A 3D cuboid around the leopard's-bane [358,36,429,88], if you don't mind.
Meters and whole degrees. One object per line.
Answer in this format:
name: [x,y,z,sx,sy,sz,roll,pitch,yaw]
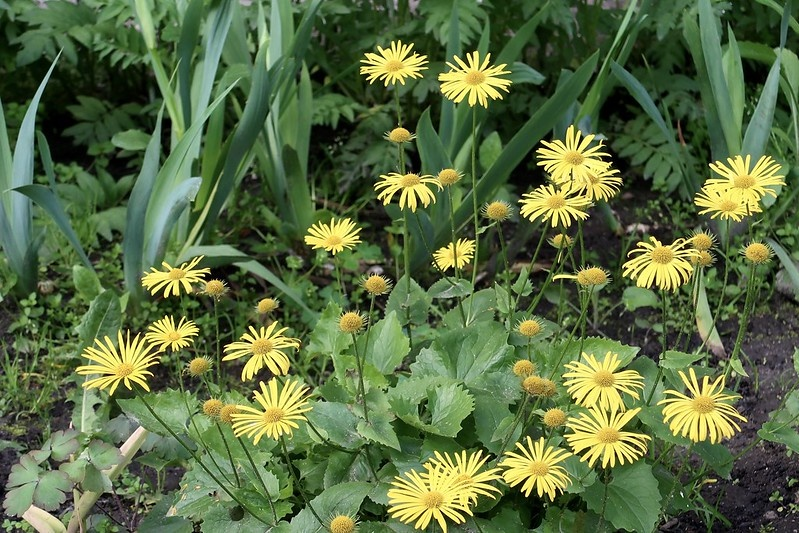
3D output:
leopard's-bane: [-0.011,-0.651,2.063,0.174,0.062,0.208,-4,10,-12]
